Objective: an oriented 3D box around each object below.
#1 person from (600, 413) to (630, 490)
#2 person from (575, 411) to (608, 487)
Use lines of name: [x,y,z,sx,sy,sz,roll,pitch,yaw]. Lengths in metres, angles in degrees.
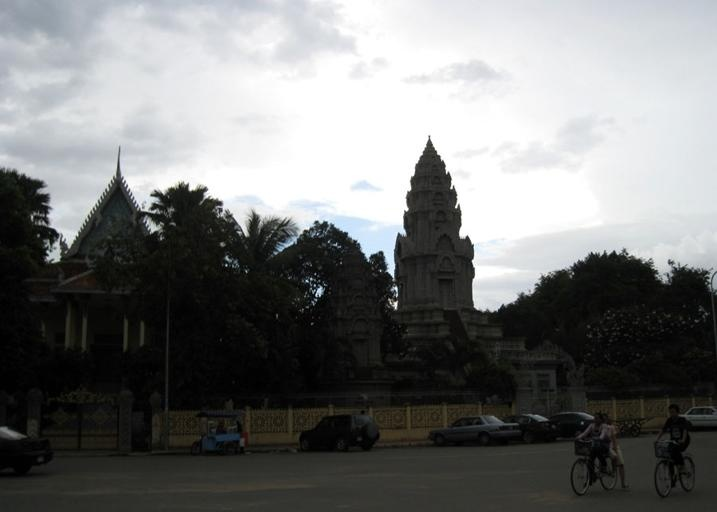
person: [9.048,6.949,32.575,1.046,3.191,1.261,-3,-6,9]
person: [8.159,6.652,32.183,1.117,2.307,1.536,-2,-7,21]
